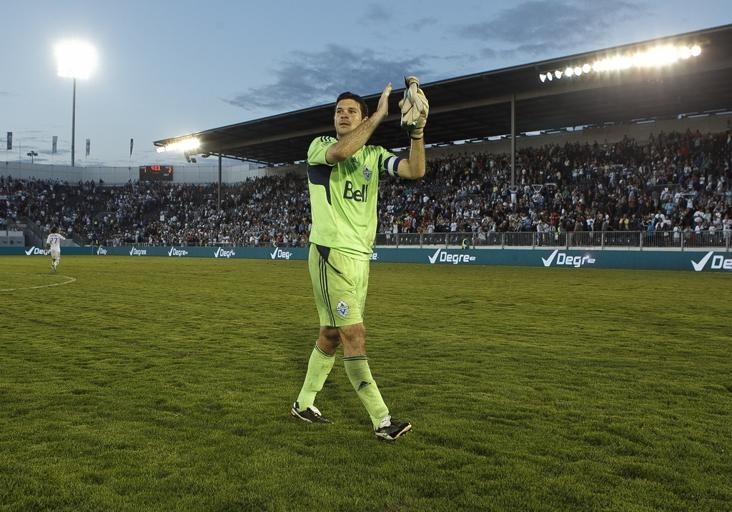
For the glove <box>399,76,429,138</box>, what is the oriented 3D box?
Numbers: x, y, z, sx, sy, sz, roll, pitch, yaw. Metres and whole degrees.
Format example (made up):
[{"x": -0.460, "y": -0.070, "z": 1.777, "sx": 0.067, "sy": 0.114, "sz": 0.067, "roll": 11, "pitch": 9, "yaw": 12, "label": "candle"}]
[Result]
[{"x": 0.403, "y": -1.257, "z": 4.791, "sx": 0.241, "sy": 0.489, "sz": 0.406, "roll": 0, "pitch": 8, "yaw": 3, "label": "glove"}]

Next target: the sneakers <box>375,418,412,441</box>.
[{"x": 0.228, "y": 1.478, "z": 4.878, "sx": 0.311, "sy": 0.152, "sz": 0.145, "roll": -20, "pitch": -16, "yaw": 22, "label": "sneakers"}]

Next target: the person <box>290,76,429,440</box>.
[{"x": -0.106, "y": 0.012, "z": 5.010, "sx": 1.100, "sy": 3.043, "sz": 0.925, "roll": -2, "pitch": 8, "yaw": -13, "label": "person"}]

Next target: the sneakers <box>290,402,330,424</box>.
[{"x": -0.501, "y": 1.444, "z": 5.225, "sx": 0.414, "sy": 0.161, "sz": 0.141, "roll": 11, "pitch": -5, "yaw": 3, "label": "sneakers"}]
